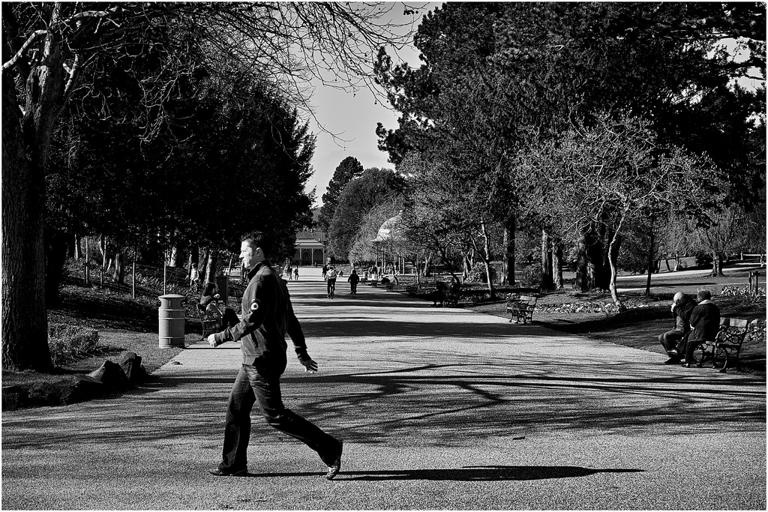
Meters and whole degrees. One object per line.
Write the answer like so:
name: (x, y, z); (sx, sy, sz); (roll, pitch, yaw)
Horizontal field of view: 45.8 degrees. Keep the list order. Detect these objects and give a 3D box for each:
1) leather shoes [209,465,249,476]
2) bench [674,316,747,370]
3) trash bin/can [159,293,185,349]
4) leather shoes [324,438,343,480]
leather shoes: (-2.293, 3.263, 13.566); (0.534, 0.238, 0.198); (7, -7, 0)
bench: (8.510, 2.236, 22.936); (1.338, 1.252, 3.164); (-1, -4, 19)
trash bin/can: (-5.746, 1.819, 24.786); (0.687, 1.449, 0.552); (1, -3, -16)
leather shoes: (-0.697, 3.106, 13.661); (0.256, 0.613, 0.216); (12, -9, -23)
